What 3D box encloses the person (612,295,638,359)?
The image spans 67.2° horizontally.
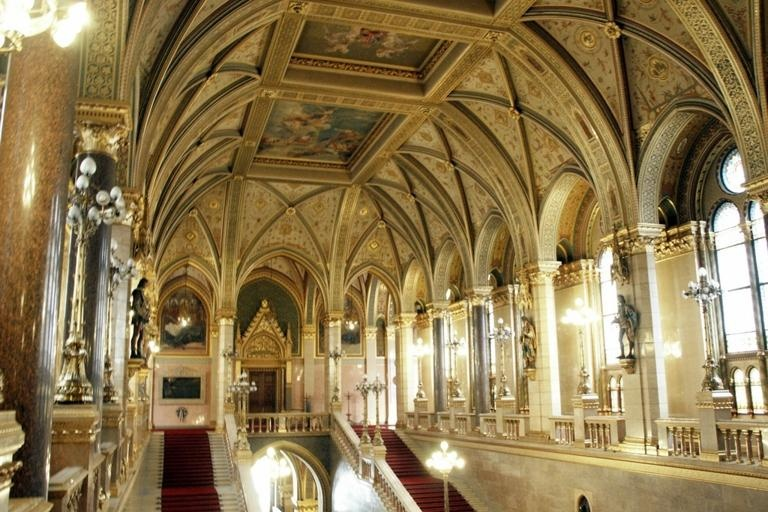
[{"bbox_3d":[6.576,1.885,15.656,0.322,1.780,0.671,7,-19,-33],"label":"person"}]

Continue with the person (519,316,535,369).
[{"bbox_3d":[4.844,2.859,19.295,0.215,1.783,0.658,3,-17,-20],"label":"person"}]

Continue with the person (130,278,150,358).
[{"bbox_3d":[-5.858,1.471,13.823,0.407,2.050,0.768,3,-17,-23],"label":"person"}]
